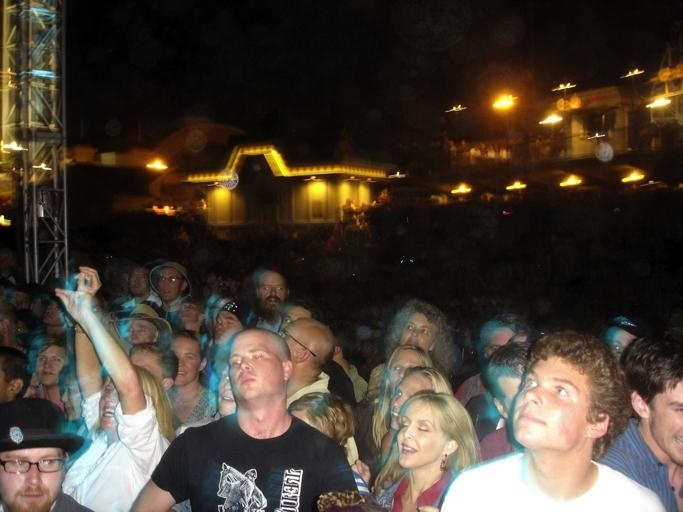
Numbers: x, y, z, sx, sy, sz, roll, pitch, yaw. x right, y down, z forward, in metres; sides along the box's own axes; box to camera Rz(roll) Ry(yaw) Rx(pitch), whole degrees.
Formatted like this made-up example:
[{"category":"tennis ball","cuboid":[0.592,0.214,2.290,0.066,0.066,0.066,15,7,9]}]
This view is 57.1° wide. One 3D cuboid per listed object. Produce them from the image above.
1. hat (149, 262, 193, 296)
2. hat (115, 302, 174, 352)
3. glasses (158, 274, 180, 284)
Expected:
[{"category":"hat","cuboid":[-2.753,0.323,9.945,0.469,0.316,0.577,12,-12,-35]},{"category":"hat","cuboid":[-2.355,0.964,7.787,0.585,0.278,0.687,-1,-48,10]},{"category":"glasses","cuboid":[-2.622,0.333,9.702,0.349,0.136,0.198,7,-5,-16]}]
